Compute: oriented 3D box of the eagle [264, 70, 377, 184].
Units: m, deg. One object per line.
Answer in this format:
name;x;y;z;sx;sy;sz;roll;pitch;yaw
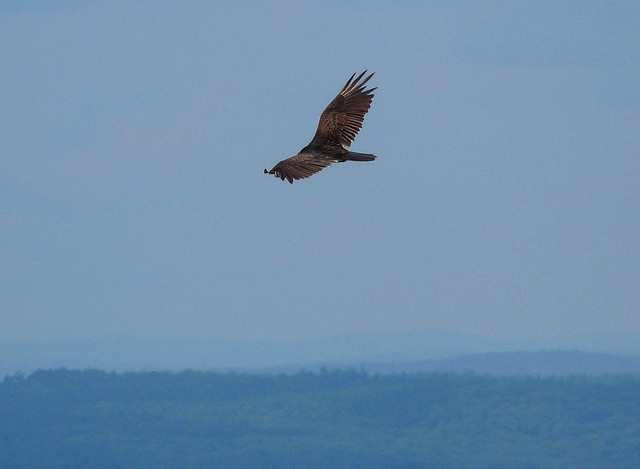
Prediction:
eagle;0.080;-1.025;19.421;0.975;1.276;0.490;9;-36;0
